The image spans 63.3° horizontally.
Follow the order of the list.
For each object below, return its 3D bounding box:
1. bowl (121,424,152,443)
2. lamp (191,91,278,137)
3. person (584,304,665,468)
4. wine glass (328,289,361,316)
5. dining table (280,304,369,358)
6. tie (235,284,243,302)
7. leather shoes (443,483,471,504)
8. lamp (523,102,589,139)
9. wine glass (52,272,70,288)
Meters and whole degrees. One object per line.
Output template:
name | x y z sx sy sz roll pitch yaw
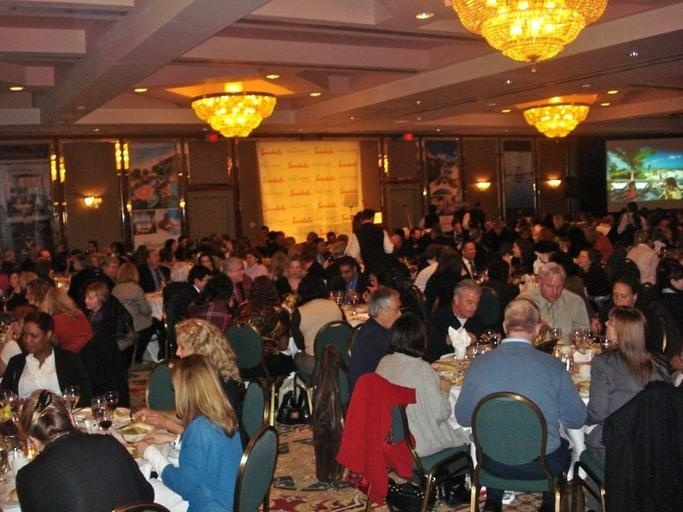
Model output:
bowl | -1.276 1.109 3.443 0.238 0.040 0.216 1 1 0
lamp | -1.971 -2.545 10.269 1.628 0.587 1.552 -6 2 -38
person | 1.684 0.802 3.275 0.464 0.976 0.365 -2 3 22
wine glass | 0.045 0.577 7.190 0.234 0.308 0.353 -2 -12 -13
dining table | -0.159 0.865 6.440 0.638 0.764 0.668 -4 13 -16
tie | -1.483 0.528 7.971 0.058 0.194 0.214 0 -35 13
leather shoes | 0.821 1.717 3.982 0.232 0.081 0.301 1 0 10
lamp | 4.828 -2.913 12.364 1.142 0.481 1.014 8 -39 4
wine glass | -5.264 0.454 10.398 0.289 0.275 0.290 5 9 43
